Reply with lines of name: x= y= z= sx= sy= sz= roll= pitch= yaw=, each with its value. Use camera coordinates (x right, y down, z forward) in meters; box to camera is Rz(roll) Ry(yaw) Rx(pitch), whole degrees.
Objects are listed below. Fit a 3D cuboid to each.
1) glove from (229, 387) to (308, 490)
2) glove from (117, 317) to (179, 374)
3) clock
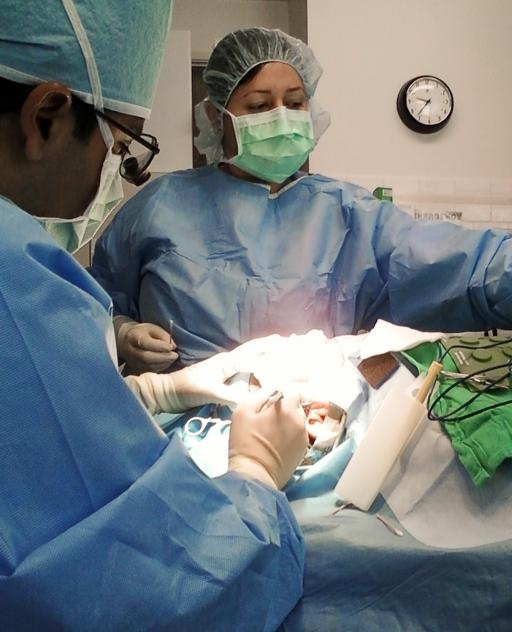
glove: x=0.055 y=0.185 z=1.057 sx=0.158 sy=0.158 sz=0.196 roll=-3 pitch=15 yaw=-17
glove: x=-0.310 y=0.079 z=1.616 sx=0.153 sy=0.155 sz=0.169 roll=-9 pitch=17 yaw=-35
clock: x=0.904 y=-1.122 z=3.198 sx=0.286 sy=0.293 sz=0.069 roll=-8 pitch=5 yaw=-14
